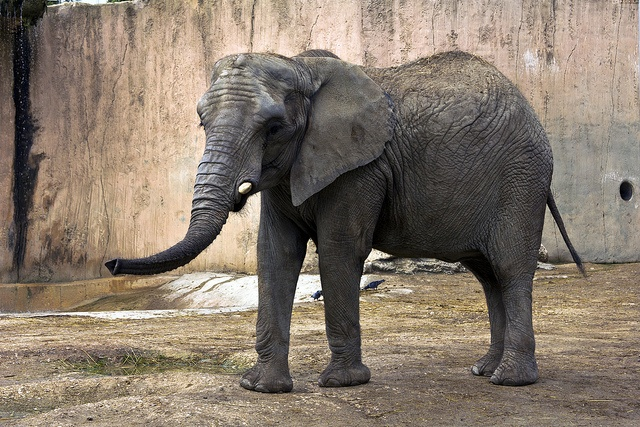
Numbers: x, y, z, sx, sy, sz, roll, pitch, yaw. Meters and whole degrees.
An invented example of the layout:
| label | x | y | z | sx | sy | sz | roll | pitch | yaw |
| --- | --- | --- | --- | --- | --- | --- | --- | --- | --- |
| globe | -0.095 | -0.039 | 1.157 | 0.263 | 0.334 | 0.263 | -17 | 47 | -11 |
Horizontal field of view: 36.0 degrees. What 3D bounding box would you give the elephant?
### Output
| label | x | y | z | sx | sy | sz | roll | pitch | yaw |
| --- | --- | --- | --- | --- | --- | --- | --- | --- | --- |
| elephant | 0.445 | 0.102 | 15.916 | 8.662 | 5.150 | 2.738 | -1 | 3 | -24 |
